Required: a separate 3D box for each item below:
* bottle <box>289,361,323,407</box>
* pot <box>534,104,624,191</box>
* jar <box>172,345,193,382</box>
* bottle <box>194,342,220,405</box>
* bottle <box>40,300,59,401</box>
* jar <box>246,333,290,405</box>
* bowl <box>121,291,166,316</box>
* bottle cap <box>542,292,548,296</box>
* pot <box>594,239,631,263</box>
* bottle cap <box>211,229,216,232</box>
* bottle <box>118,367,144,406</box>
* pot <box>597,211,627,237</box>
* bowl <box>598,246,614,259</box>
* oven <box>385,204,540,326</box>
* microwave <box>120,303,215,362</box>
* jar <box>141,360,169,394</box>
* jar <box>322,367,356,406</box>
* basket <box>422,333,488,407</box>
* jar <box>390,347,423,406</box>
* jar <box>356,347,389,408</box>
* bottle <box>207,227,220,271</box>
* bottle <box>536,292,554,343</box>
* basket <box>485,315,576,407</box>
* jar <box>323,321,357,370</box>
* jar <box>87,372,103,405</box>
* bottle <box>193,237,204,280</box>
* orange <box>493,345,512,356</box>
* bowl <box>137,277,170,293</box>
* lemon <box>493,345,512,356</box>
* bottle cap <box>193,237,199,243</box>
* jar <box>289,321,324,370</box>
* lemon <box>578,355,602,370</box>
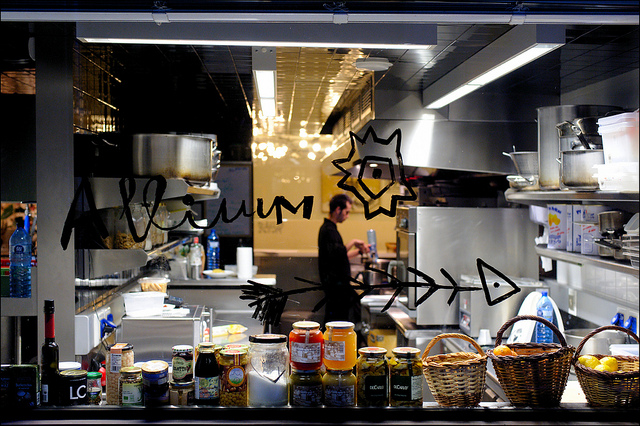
[{"bbox_3d":[-0.062,0.738,2.648,0.187,0.181,0.139,-3,-6,23],"label":"bottle"},{"bbox_3d":[1.228,-0.309,3.196,0.429,0.442,0.430,0,-4,0],"label":"pot"},{"bbox_3d":[-0.599,0.671,2.716,0.101,0.155,0.100,-2,-7,0],"label":"jar"},{"bbox_3d":[-0.492,0.703,2.685,0.108,0.263,0.105,-3,-5,0],"label":"bottle"},{"bbox_3d":[-1.175,0.589,2.673,0.077,0.443,0.136,-1,0,-24],"label":"bottle"},{"bbox_3d":[-0.225,0.674,2.659,0.187,0.309,0.075,-1,0,-7],"label":"jar"},{"bbox_3d":[-0.951,0.492,3.347,0.206,0.099,0.134,1,-2,-7],"label":"bowl"},{"bbox_3d":[1.156,0.417,3.193,0.020,0.014,0.019,0,2,-13],"label":"bottle cap"},{"bbox_3d":[1.328,0.167,2.770,0.100,0.101,0.231,-1,1,-16],"label":"pot"},{"bbox_3d":[-0.534,0.087,3.079,0.015,0.014,0.013,0,3,3],"label":"bottle cap"},{"bbox_3d":[-0.826,0.759,2.697,0.115,0.175,0.113,3,10,0],"label":"bottle"},{"bbox_3d":[1.368,0.055,2.900,0.120,0.106,0.117,5,-21,2],"label":"pot"},{"bbox_3d":[1.305,0.180,2.832,0.062,0.051,0.104,3,-5,2],"label":"bowl"},{"bbox_3d":[0.711,0.270,2.995,0.805,0.607,0.397,-1,0,3],"label":"oven"},{"bbox_3d":[-0.799,0.605,3.451,0.478,0.340,0.483,-1,-3,-3],"label":"microwave"},{"bbox_3d":[-0.710,0.695,2.645,0.123,0.122,0.119,0,0,0],"label":"jar"},{"bbox_3d":[0.085,0.753,2.701,0.169,0.151,0.165,-1,-3,0],"label":"jar"},{"bbox_3d":[0.579,0.676,2.663,0.273,0.308,0.167,-1,0,-30],"label":"basket"},{"bbox_3d":[0.367,0.704,2.714,0.155,0.229,0.159,3,2,0],"label":"jar"},{"bbox_3d":[0.219,0.716,2.708,0.143,0.225,0.161,3,3,-1],"label":"jar"},{"bbox_3d":[-0.539,0.183,3.103,0.060,0.212,0.077,-1,0,-11],"label":"bottle"},{"bbox_3d":[1.186,0.554,3.278,0.087,0.270,0.237,-1,0,21],"label":"bottle"},{"bbox_3d":[0.914,0.638,2.722,0.404,0.381,0.245,-1,0,-4],"label":"basket"},{"bbox_3d":[0.082,0.569,2.661,0.144,0.202,0.087,-1,0,5],"label":"jar"},{"bbox_3d":[-0.984,0.768,2.687,0.056,0.143,0.087,-1,0,-21],"label":"jar"},{"bbox_3d":[-0.640,0.241,3.222,0.052,0.222,0.232,-1,0,-12],"label":"bottle"},{"bbox_3d":[0.798,0.602,2.713,0.046,0.043,0.043,4,-5,-17],"label":"orange"},{"bbox_3d":[-0.918,0.395,3.410,0.128,0.085,0.179,-1,1,-27],"label":"bowl"},{"bbox_3d":[0.798,0.603,2.713,0.042,0.041,0.043,-2,-5,43],"label":"lemon"},{"bbox_3d":[-0.625,0.135,3.113,0.022,0.029,0.026,-1,0,-12],"label":"bottle cap"},{"bbox_3d":[-0.059,0.574,2.696,0.151,0.183,0.197,2,-2,-6],"label":"jar"},{"bbox_3d":[1.210,0.668,2.788,0.061,0.037,0.069,2,0,-38],"label":"lemon"}]
